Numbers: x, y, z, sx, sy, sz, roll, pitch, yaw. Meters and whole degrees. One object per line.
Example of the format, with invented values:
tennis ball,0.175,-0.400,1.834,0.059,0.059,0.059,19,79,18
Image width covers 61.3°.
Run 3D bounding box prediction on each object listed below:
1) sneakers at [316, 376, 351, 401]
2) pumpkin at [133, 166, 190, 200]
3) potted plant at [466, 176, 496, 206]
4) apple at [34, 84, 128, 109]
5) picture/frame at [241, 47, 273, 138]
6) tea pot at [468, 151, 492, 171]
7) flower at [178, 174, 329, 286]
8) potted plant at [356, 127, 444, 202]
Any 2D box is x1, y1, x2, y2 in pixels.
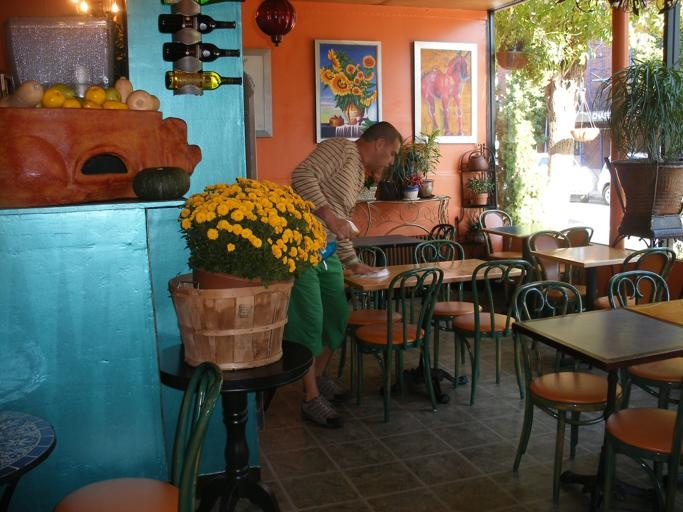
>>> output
sneakers,-0.071,0.937,4.157,0.299,0.129,0.106,22,2,2
pumpkin,-0.732,-0.336,2.414,0.157,0.090,0.165,8,29,6
potted plant,1.792,-0.811,7.378,0.431,0.431,0.371,0,1,-6
apple,-1.058,-0.654,2.362,0.337,0.106,0.159,-6,11,-22
picture/frame,-0.921,-1.831,6.481,0.303,0.965,0.151,-3,10,-8
tea pot,1.733,-1.191,7.267,0.268,0.226,0.267,0,5,0
flower,-0.413,-0.103,2.296,0.610,0.368,0.595,-7,14,-37
potted plant,0.711,-1.092,7.027,0.860,0.630,0.885,5,11,38
